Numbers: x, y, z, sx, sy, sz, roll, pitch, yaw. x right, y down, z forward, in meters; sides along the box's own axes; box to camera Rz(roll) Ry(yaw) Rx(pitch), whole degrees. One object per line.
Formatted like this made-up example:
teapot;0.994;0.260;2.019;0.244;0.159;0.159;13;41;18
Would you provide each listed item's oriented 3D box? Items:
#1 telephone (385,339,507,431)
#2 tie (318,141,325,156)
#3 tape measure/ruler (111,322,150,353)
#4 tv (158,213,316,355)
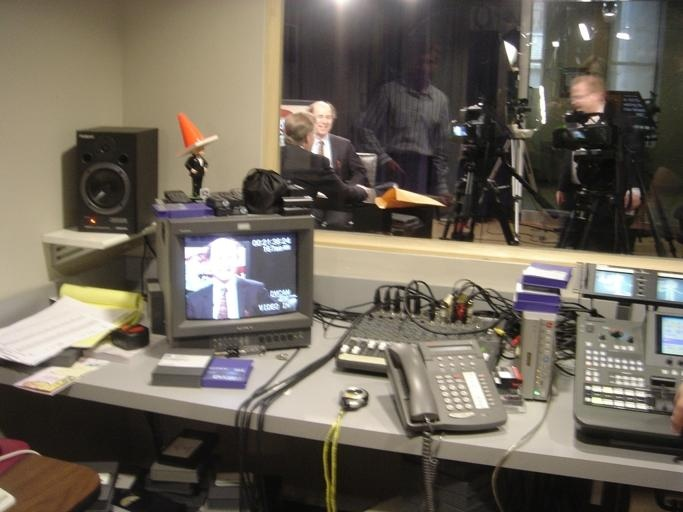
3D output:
telephone;0.335;0.413;1.944;0.327;0.206;0.264;-5;14;-8
tie;-0.090;-0.486;2.697;0.030;0.059;0.007;1;15;13
tape measure/ruler;-0.803;0.297;2.256;0.098;0.060;0.099;11;15;35
tv;-0.399;0.103;2.462;0.677;0.619;0.494;-1;4;-12
